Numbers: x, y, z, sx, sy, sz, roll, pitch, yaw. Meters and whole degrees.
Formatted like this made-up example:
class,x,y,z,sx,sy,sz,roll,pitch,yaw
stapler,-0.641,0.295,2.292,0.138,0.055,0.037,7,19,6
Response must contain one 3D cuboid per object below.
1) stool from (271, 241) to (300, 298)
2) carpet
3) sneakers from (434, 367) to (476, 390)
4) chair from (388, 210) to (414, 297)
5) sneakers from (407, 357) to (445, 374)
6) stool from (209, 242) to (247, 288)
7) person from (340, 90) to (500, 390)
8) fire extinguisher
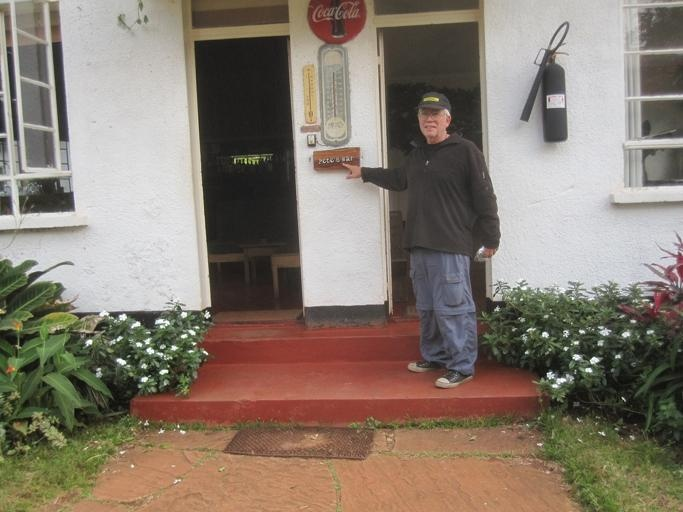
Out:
class,x,y,z,sx,sy,sz,roll,pitch,yaw
stool,-0.761,0.210,7.595,0.516,0.544,0.856,-4,7,-12
carpet,-0.322,1.470,4.446,1.144,0.123,0.406,-2,3,6
sneakers,0.948,1.036,4.752,0.337,0.132,0.122,0,5,-24
chair,0.710,-0.006,6.949,0.318,0.961,0.362,4,9,6
sneakers,0.760,0.998,5.119,0.314,0.125,0.114,3,3,-4
stool,-1.770,0.278,8.900,0.602,0.410,0.906,-2,13,-5
person,0.854,-0.145,4.889,0.981,2.496,0.507,-1,3,16
fire extinguisher,1.869,-1.596,5.178,0.450,1.097,0.200,-1,3,15
